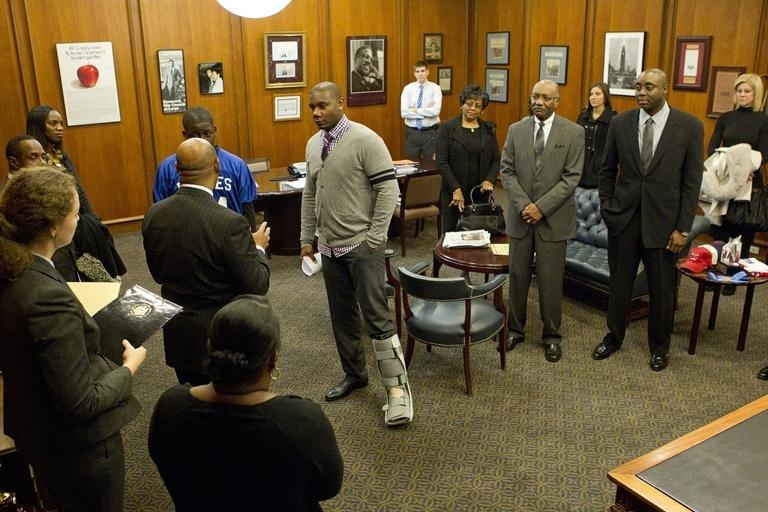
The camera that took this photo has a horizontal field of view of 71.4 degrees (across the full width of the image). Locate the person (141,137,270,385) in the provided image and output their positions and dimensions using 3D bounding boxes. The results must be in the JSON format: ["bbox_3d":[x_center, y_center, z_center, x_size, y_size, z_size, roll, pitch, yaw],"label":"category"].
[{"bbox_3d":[-1.074,0.318,3.451,0.644,2.051,0.666,6,20,9],"label":"person"}]

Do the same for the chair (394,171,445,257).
[{"bbox_3d":[0.453,-0.562,6.935,0.605,1.142,0.667,-12,38,-17],"label":"chair"}]

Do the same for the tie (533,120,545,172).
[{"bbox_3d":[1.386,-0.993,4.773,0.089,0.381,0.177,2,22,13],"label":"tie"}]

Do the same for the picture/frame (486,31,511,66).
[{"bbox_3d":[2.075,-3.764,9.642,0.087,0.724,0.597,-9,14,-36],"label":"picture/frame"}]

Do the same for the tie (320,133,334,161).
[{"bbox_3d":[-0.423,-0.824,3.980,0.117,0.192,0.060,13,26,36],"label":"tie"}]

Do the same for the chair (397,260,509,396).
[{"bbox_3d":[0.608,0.362,4.747,0.928,1.180,1.016,9,26,32],"label":"chair"}]

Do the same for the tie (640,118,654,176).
[{"bbox_3d":[2.207,-0.929,4.487,0.094,0.418,0.146,7,23,26],"label":"tie"}]

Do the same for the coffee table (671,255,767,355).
[{"bbox_3d":[3.220,0.409,5.210,0.809,0.813,0.947,0,24,7],"label":"coffee table"}]

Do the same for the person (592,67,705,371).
[{"bbox_3d":[2.226,-0.282,4.627,0.784,2.483,0.575,10,24,31],"label":"person"}]

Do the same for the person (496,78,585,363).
[{"bbox_3d":[1.387,-0.303,4.858,0.696,2.378,0.725,5,22,20],"label":"person"}]

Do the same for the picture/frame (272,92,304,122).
[{"bbox_3d":[-1.578,-2.444,8.677,0.436,0.408,0.033,-9,19,-33],"label":"picture/frame"}]

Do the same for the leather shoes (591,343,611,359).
[{"bbox_3d":[2.011,0.880,4.926,0.241,0.111,0.090,-10,22,-32],"label":"leather shoes"}]

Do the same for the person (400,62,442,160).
[{"bbox_3d":[0.630,-2.203,9.140,0.625,2.100,0.605,-1,29,4],"label":"person"}]

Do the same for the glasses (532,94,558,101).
[{"bbox_3d":[1.399,-1.397,4.705,0.186,0.055,0.091,7,24,23],"label":"glasses"}]

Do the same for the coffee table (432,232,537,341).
[{"bbox_3d":[0.832,0.228,5.273,0.803,0.659,0.828,-1,23,0],"label":"coffee table"}]

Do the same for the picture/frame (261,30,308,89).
[{"bbox_3d":[-1.602,-3.147,8.480,0.837,1.049,0.073,-4,12,-16],"label":"picture/frame"}]

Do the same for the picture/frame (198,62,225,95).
[{"bbox_3d":[-2.599,-2.674,8.008,0.437,0.541,0.069,-8,17,-38],"label":"picture/frame"}]
